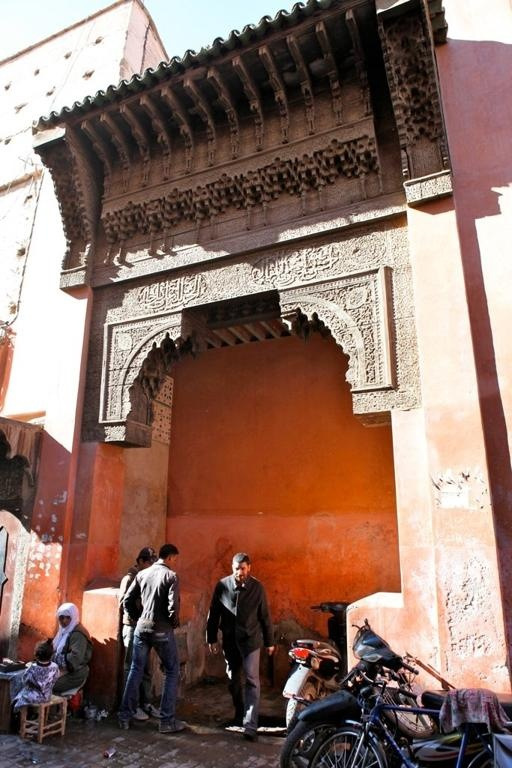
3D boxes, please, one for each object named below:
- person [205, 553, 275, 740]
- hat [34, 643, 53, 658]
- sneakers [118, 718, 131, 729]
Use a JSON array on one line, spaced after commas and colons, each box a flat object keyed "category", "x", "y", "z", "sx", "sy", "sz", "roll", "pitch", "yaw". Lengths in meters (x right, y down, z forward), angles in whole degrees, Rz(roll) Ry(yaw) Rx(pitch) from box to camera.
[{"category": "person", "x": -0.131, "y": 1.918, "z": 4.167, "sx": 0.410, "sy": 1.234, "sz": 0.473, "roll": 11, "pitch": -20, "yaw": -32}, {"category": "hat", "x": -1.531, "y": 1.928, "z": 4.040, "sx": 0.098, "sy": 0.125, "sz": 0.123, "roll": -1, "pitch": 6, "yaw": -38}, {"category": "sneakers", "x": -0.978, "y": 2.533, "z": 4.149, "sx": 0.080, "sy": 0.073, "sz": 0.114, "roll": 4, "pitch": -17, "yaw": -12}]
